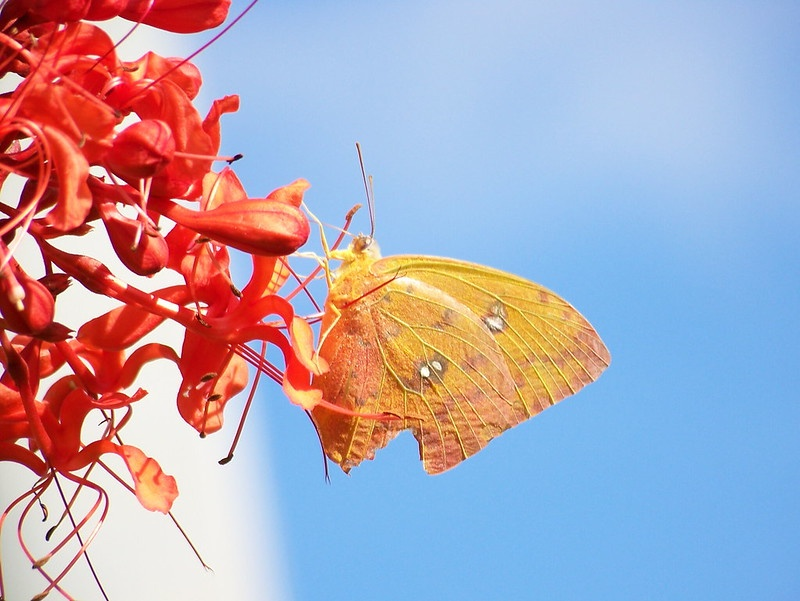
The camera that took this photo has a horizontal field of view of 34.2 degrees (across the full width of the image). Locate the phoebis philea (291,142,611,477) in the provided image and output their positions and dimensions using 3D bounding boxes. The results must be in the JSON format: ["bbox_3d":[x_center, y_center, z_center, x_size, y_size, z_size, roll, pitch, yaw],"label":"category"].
[{"bbox_3d":[0.112,0.084,3.111,0.638,0.721,0.518,-1,39,42],"label":"phoebis philea"}]
